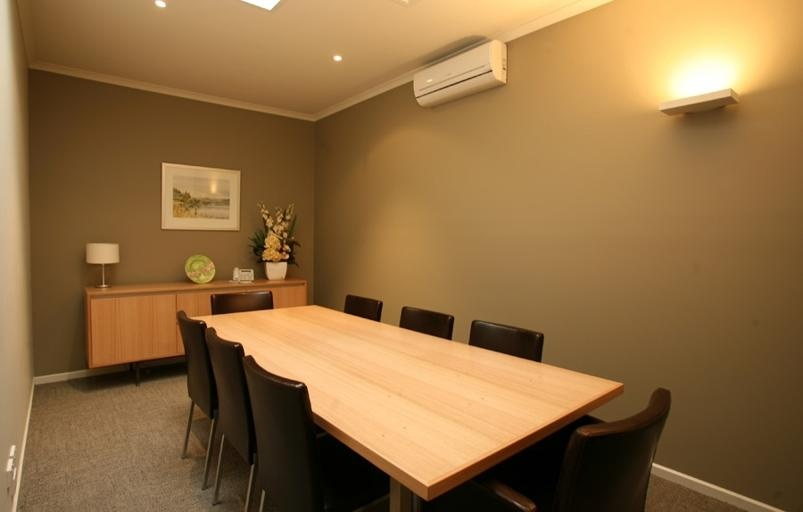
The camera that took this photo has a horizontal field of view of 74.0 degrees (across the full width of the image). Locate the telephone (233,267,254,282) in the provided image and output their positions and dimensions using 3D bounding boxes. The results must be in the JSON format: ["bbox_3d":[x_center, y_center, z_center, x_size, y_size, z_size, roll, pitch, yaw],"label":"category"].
[{"bbox_3d":[-1.944,0.234,6.610,0.188,0.144,0.191,5,6,41],"label":"telephone"}]

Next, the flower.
[{"bbox_3d":[-1.625,-0.286,6.894,0.648,0.800,0.536,-1,3,-19],"label":"flower"}]

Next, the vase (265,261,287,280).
[{"bbox_3d":[-1.570,0.195,6.726,0.244,0.206,0.201,0,1,-34],"label":"vase"}]

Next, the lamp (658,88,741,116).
[{"bbox_3d":[2.288,-1.174,4.100,0.528,0.124,0.210,0,2,28],"label":"lamp"}]

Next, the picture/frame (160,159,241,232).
[{"bbox_3d":[-2.489,-0.737,6.487,0.895,0.786,0.062,0,-1,-39],"label":"picture/frame"}]

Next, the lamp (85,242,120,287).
[{"bbox_3d":[-3.256,0.099,5.826,0.339,0.475,0.371,-2,3,-29],"label":"lamp"}]
